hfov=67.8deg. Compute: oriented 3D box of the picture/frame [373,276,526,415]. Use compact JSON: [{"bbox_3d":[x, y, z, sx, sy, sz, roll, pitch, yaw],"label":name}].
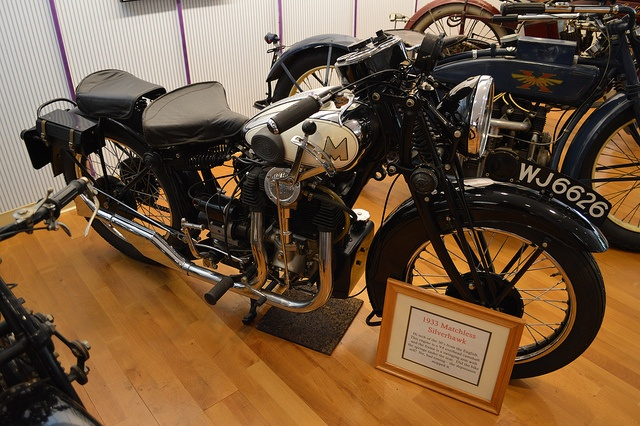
[{"bbox_3d":[0.631,0.654,2.306,0.596,0.510,0.046,15,26,18],"label":"picture/frame"}]
